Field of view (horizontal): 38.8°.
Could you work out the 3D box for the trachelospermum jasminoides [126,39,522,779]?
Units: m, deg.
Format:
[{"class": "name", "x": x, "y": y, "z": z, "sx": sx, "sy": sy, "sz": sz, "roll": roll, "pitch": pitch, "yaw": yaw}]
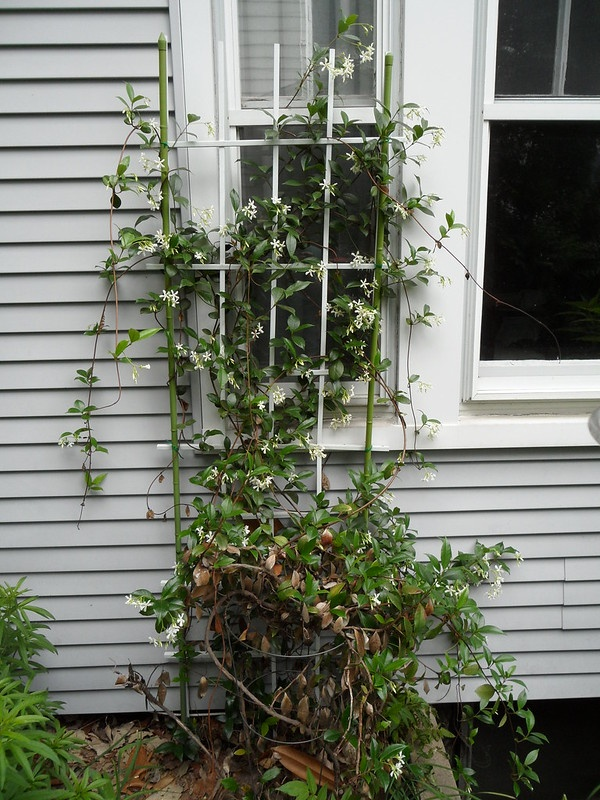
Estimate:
[{"class": "trachelospermum jasminoides", "x": 0.100, "y": 0.062, "z": 2.596, "sx": 1.250, "sy": 2.293, "sz": 0.800, "roll": 1, "pitch": 6, "yaw": -11}]
